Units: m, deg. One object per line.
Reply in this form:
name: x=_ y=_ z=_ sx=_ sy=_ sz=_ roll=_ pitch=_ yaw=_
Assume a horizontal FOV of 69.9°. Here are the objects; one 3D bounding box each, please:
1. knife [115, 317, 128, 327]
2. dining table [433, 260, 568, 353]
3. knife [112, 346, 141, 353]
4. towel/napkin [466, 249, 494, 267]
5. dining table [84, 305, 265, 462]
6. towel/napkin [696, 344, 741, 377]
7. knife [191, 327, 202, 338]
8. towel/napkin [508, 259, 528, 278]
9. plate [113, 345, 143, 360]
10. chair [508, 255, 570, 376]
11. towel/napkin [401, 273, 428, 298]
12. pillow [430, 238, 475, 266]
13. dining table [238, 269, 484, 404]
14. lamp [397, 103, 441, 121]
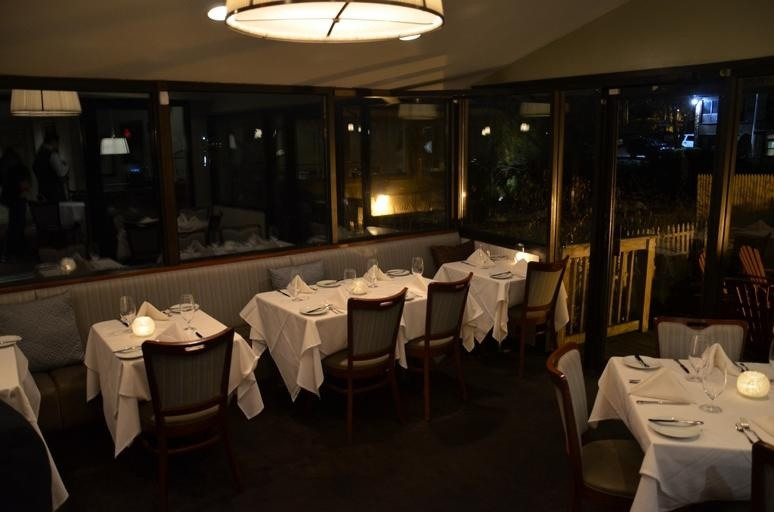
knife: x=-2.367 y=0.596 z=4.954 sx=0.084 sy=0.029 sz=0.069 roll=19 pitch=16 yaw=36
dining table: x=1.107 y=0.480 z=6.145 sx=1.058 sy=0.662 sz=1.064 roll=-10 pitch=14 yaw=-35
knife: x=-2.099 y=0.763 z=4.486 sx=0.213 sy=0.029 sz=0.069 roll=-3 pitch=23 yaw=-4
towel/napkin: x=1.125 y=0.052 z=6.645 sx=0.195 sy=0.099 sz=0.274 roll=-2 pitch=16 yaw=2
dining table: x=-2.001 y=0.670 z=4.793 sx=1.294 sy=0.824 sz=1.329 roll=-7 pitch=13 yaw=-37
towel/napkin: x=2.428 y=0.714 z=4.073 sx=0.235 sy=0.123 sz=0.186 roll=7 pitch=12 yaw=28
knife: x=-1.642 y=0.661 z=4.788 sx=0.056 sy=0.042 sz=0.220 roll=-6 pitch=29 yaw=-30
towel/napkin: x=1.525 y=0.146 z=6.381 sx=0.149 sy=0.077 sz=0.209 roll=11 pitch=20 yaw=39
plate: x=-2.076 y=0.783 z=4.437 sx=0.206 sy=0.038 sz=0.223 roll=-8 pitch=16 yaw=-25
chair: x=1.630 y=0.583 z=6.300 sx=0.746 sy=1.209 sz=0.629 roll=-8 pitch=14 yaw=-27
towel/napkin: x=0.304 y=0.317 z=5.709 sx=0.216 sy=0.069 sz=0.216 roll=-12 pitch=17 yaw=-43
pillow: x=0.843 y=-0.036 z=7.209 sx=0.345 sy=0.122 sz=0.400 roll=-4 pitch=32 yaw=4
dining table: x=-0.642 y=0.704 z=5.265 sx=1.627 sy=0.650 sz=1.407 roll=-8 pitch=13 yaw=-37
lamp: x=0.417 y=-1.859 z=7.193 sx=0.293 sy=0.140 sz=0.289 roll=-8 pitch=9 yaw=-44
